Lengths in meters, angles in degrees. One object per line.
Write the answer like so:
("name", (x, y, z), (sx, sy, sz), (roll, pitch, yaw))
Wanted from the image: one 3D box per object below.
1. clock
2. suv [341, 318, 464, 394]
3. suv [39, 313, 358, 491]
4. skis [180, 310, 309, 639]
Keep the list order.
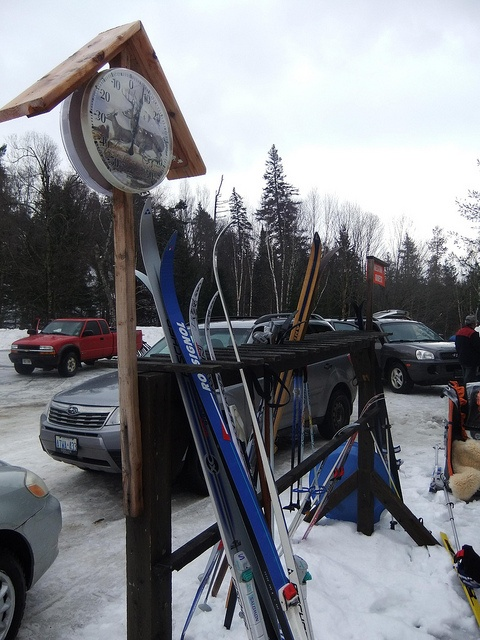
("clock", (-0.323, -0.552, 1.414), (0.061, 0.355, 0.378), (2, 2, 26))
("suv", (3.143, 0.633, 9.368), (1.269, 1.746, 3.024), (2, -8, -24))
("suv", (-0.119, 0.790, 4.643), (1.382, 1.531, 3.204), (-7, -8, 38))
("skis", (0.014, 0.685, 2.039), (0.196, 1.495, 0.205), (1, -18, -40))
